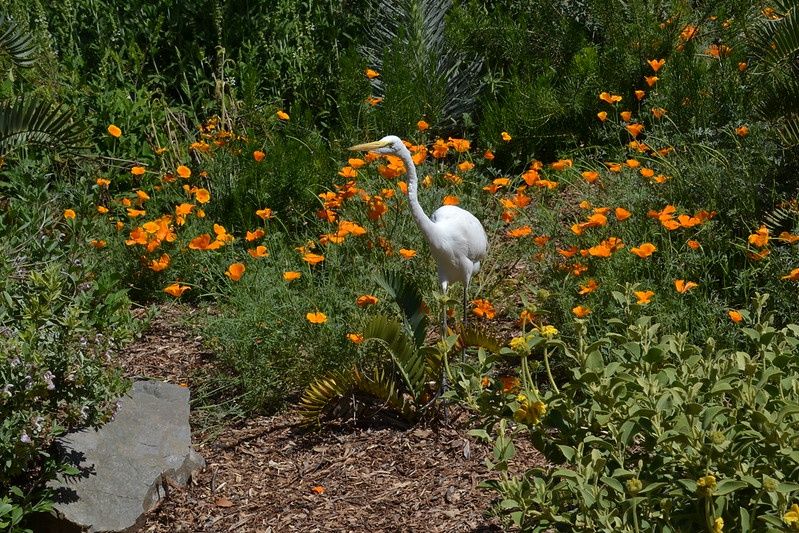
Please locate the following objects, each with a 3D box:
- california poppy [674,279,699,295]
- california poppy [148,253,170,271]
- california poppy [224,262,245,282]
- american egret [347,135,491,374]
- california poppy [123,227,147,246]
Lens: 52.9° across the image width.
[{"bbox_3d":[1.671,0.112,4.766,0.125,0.053,0.126,3,2,-21],"label":"california poppy"},{"bbox_3d":[-1.678,-0.014,5.652,0.143,0.092,0.145,-36,2,1],"label":"california poppy"},{"bbox_3d":[-1.051,0.016,5.240,0.109,0.060,0.119,-33,14,3],"label":"california poppy"},{"bbox_3d":[0.205,-0.275,5.093,0.681,1.061,0.497,13,29,20],"label":"american egret"},{"bbox_3d":[-1.811,-0.219,5.623,0.139,0.094,0.239,-5,29,-14],"label":"california poppy"}]
